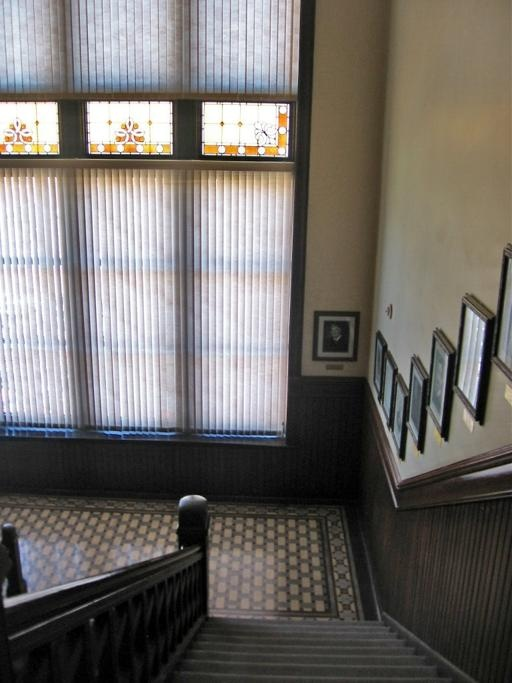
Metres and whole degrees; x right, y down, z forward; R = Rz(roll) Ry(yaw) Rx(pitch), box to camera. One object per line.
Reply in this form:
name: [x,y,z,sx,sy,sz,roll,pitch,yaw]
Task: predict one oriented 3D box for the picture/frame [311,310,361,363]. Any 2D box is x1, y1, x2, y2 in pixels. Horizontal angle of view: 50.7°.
picture/frame: [0.804,-0.056,5.353,0.416,0.521,0.032,1,25,4]
